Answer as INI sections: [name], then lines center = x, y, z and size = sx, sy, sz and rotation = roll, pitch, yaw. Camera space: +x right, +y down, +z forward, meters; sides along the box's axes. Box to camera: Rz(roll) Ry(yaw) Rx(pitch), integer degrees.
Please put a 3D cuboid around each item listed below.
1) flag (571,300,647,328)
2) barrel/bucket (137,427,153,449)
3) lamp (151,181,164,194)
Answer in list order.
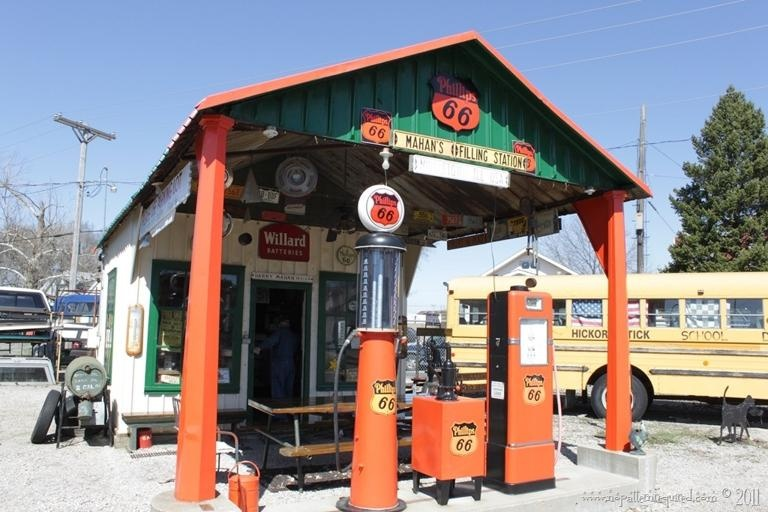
[flag]
center = 4.951, 1.285, 14.729
size = 0.951, 0.553, 0.158
rotation = -1, -2, 22
[barrel/bucket]
center = -4.451, 3.395, 12.661
size = 0.150, 0.356, 0.303
rotation = -5, -7, 39
[lamp]
center = -4.066, -1.216, 12.206
size = 0.207, 0.234, 0.213
rotation = -4, -3, 17
